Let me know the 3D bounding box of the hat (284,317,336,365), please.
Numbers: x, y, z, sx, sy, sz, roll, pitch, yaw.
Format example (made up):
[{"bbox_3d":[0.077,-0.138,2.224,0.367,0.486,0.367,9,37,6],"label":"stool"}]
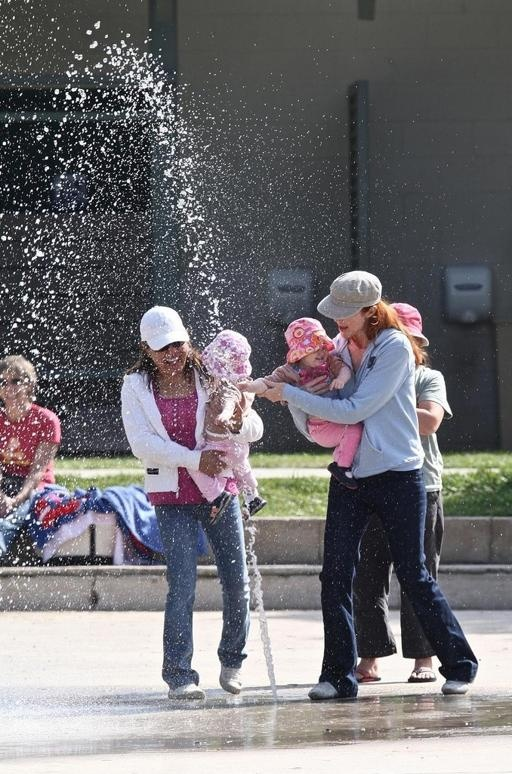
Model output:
[{"bbox_3d":[0.193,-0.155,5.827,0.149,0.109,0.148,-33,0,8],"label":"hat"}]

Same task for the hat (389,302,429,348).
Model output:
[{"bbox_3d":[0.598,-0.286,6.181,0.098,0.181,0.140,-43,-7,-2],"label":"hat"}]

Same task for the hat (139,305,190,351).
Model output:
[{"bbox_3d":[-0.348,-0.217,5.899,0.116,0.120,0.187,-12,17,-20],"label":"hat"}]

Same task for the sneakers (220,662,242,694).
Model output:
[{"bbox_3d":[-0.101,1.105,5.916,0.081,0.116,0.122,-2,5,-5],"label":"sneakers"}]

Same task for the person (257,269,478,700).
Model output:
[{"bbox_3d":[0.419,0.359,5.797,0.718,1.561,0.384,-1,4,-1],"label":"person"}]

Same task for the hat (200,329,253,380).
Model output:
[{"bbox_3d":[-0.110,-0.117,5.926,0.129,0.187,0.185,-2,-9,-4],"label":"hat"}]

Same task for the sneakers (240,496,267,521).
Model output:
[{"bbox_3d":[-0.012,0.464,6.147,0.074,0.084,0.196,-45,-3,-14],"label":"sneakers"}]

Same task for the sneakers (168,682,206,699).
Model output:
[{"bbox_3d":[-0.261,1.123,5.783,0.133,0.062,0.093,-2,5,0],"label":"sneakers"}]

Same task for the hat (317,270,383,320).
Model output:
[{"bbox_3d":[0.340,-0.346,5.790,0.188,0.173,0.263,10,14,42],"label":"hat"}]
